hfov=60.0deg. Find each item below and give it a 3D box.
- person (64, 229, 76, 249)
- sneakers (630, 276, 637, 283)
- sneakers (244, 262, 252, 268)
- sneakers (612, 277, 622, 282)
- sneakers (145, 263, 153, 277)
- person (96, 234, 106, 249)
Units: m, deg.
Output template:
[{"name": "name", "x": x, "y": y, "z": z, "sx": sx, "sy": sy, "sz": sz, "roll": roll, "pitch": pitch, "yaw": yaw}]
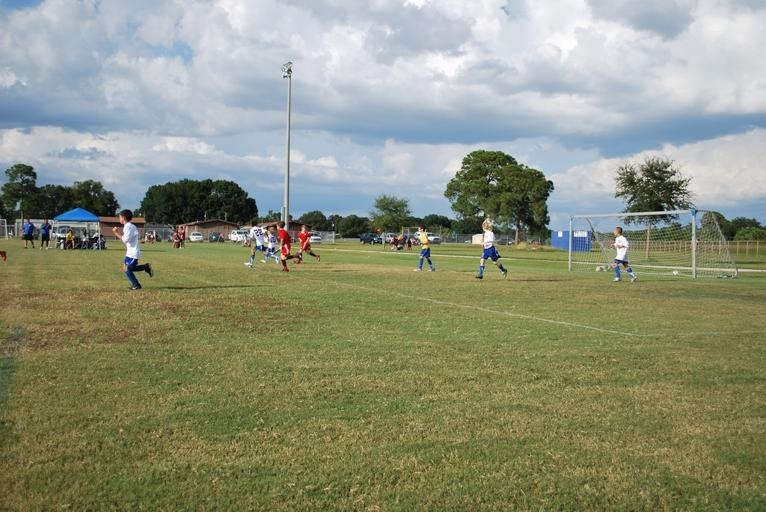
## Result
[{"name": "person", "x": -19.371, "y": -1.061, "z": 41.218, "sx": 0.557, "sy": 1.128, "sz": 1.342, "roll": -1, "pitch": 1, "yaw": -25}, {"name": "sneakers", "x": 8.331, "y": 0.803, "z": 22.183, "sx": 0.164, "sy": 0.207, "sz": 0.485, "roll": -4, "pitch": -9, "yaw": 13}, {"name": "sneakers", "x": -5.360, "y": 0.369, "z": 26.445, "sx": 0.134, "sy": 0.156, "sz": 0.387, "roll": 4, "pitch": 7, "yaw": -26}, {"name": "sneakers", "x": 7.782, "y": 0.790, "z": 22.116, "sx": 0.153, "sy": 0.179, "sz": 0.445, "roll": 3, "pitch": 2, "yaw": -1}, {"name": "sneakers", "x": -6.636, "y": 0.420, "z": 18.839, "sx": 0.127, "sy": 0.370, "sz": 0.155, "roll": -27, "pitch": 43, "yaw": -37}, {"name": "person", "x": -17.970, "y": -0.922, "z": 42.439, "sx": 0.423, "sy": 0.917, "sz": 1.261, "roll": 0, "pitch": 1, "yaw": -17}]
